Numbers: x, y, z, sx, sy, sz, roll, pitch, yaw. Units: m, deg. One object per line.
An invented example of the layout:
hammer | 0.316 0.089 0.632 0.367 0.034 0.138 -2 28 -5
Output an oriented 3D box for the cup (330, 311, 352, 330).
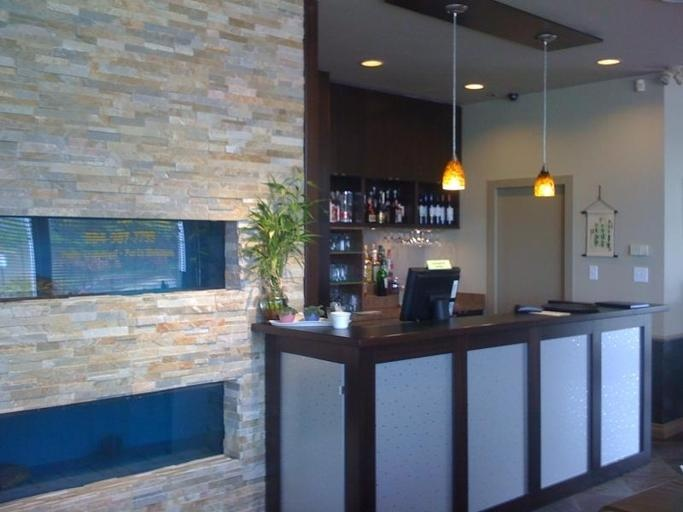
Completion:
cup | -0.006 0.399 3.382 0.114 0.078 0.108 2 -5 0

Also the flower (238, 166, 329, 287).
flower | -0.379 -0.134 4.159 0.773 1.027 0.645 1 -5 -9

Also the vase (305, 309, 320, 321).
vase | -0.205 0.390 3.563 0.080 0.051 0.078 -1 -9 10

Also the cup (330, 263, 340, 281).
cup | -0.070 0.194 5.922 0.095 0.174 0.072 -2 4 -4

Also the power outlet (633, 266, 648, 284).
power outlet | 3.102 0.193 5.597 0.144 0.160 0.027 1 5 36

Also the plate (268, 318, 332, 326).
plate | -0.275 0.435 3.575 0.406 0.028 0.247 -2 3 -7

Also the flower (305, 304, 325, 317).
flower | -0.192 0.374 3.634 0.111 0.064 0.108 -1 -7 0

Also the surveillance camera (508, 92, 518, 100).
surveillance camera | 2.019 -1.860 6.372 0.071 0.038 0.068 0 -2 -1

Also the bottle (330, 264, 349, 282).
bottle | -0.032 0.193 5.950 0.190 0.191 0.184 0 1 0

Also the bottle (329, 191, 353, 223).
bottle | -0.007 -0.529 5.972 0.190 0.358 0.405 2 5 44

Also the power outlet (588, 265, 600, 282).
power outlet | 2.758 0.182 5.909 0.103 0.167 0.017 1 5 34

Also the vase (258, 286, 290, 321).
vase | -0.451 0.323 3.652 0.213 0.224 0.205 2 -5 -6
